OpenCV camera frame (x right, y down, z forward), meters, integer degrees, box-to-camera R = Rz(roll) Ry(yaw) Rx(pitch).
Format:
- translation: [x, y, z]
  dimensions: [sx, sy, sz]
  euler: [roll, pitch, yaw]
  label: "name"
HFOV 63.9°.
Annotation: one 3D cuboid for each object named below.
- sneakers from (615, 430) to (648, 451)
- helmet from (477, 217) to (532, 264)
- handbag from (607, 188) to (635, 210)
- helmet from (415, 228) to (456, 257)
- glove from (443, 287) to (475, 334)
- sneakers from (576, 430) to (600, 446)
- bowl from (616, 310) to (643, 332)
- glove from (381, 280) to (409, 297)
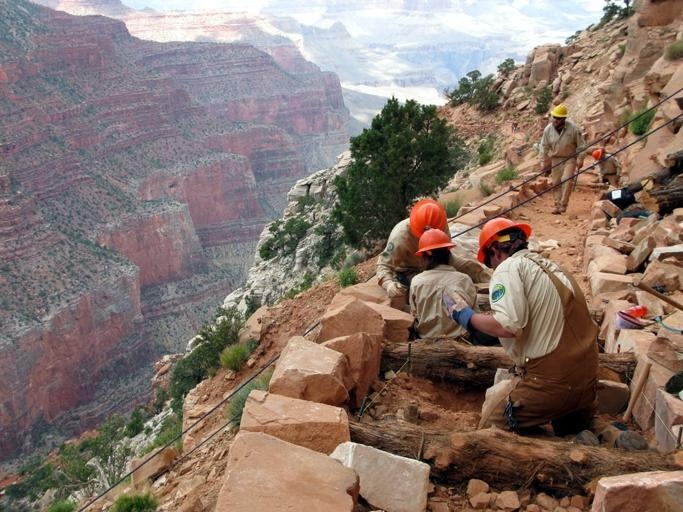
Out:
- translation: [3.266, 2.080, 6.163]
  dimensions: [0.187, 0.091, 0.263]
  euler: [2, 0, 14]
  label: "sneakers"
- translation: [2.115, -0.299, 7.000]
  dimensions: [0.669, 0.350, 0.572]
  euler: [-12, -13, -46]
  label: "helmet"
- translation: [5.723, -1.192, 11.208]
  dimensions: [0.658, 0.463, 0.359]
  euler: [6, -3, -36]
  label: "handbag"
- translation: [1.414, -0.236, 8.173]
  dimensions: [0.433, 0.229, 0.392]
  euler: [-22, 10, -36]
  label: "helmet"
- translation: [1.535, 0.695, 7.118]
  dimensions: [0.178, 0.423, 0.607]
  euler: [36, 8, -25]
  label: "glove"
- translation: [2.831, 2.107, 6.300]
  dimensions: [0.230, 0.098, 0.321]
  euler: [-5, 12, 7]
  label: "sneakers"
- translation: [4.030, 0.890, 7.663]
  dimensions: [0.228, 0.149, 0.247]
  euler: [24, -5, 2]
  label: "bowl"
- translation: [0.872, 0.548, 9.268]
  dimensions: [0.415, 0.254, 0.225]
  euler: [1, 14, 31]
  label: "glove"
